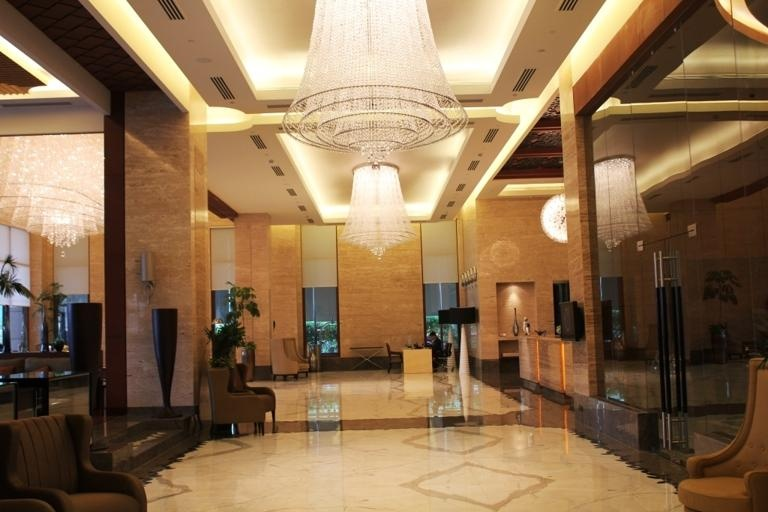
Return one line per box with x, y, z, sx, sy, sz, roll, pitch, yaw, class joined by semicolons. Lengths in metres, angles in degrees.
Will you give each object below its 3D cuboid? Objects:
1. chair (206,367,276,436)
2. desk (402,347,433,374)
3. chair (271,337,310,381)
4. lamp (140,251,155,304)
-2.571;2.612;10.199;1.207;0.960;1.119;4;-2;-36;chair
1.161;3.582;18.641;0.992;0.602;0.885;0;-8;-3;desk
-3.056;3.289;17.594;1.060;1.341;1.526;-2;-5;-1;chair
-4.290;0.391;9.870;0.255;0.886;0.267;-1;-5;-13;lamp
